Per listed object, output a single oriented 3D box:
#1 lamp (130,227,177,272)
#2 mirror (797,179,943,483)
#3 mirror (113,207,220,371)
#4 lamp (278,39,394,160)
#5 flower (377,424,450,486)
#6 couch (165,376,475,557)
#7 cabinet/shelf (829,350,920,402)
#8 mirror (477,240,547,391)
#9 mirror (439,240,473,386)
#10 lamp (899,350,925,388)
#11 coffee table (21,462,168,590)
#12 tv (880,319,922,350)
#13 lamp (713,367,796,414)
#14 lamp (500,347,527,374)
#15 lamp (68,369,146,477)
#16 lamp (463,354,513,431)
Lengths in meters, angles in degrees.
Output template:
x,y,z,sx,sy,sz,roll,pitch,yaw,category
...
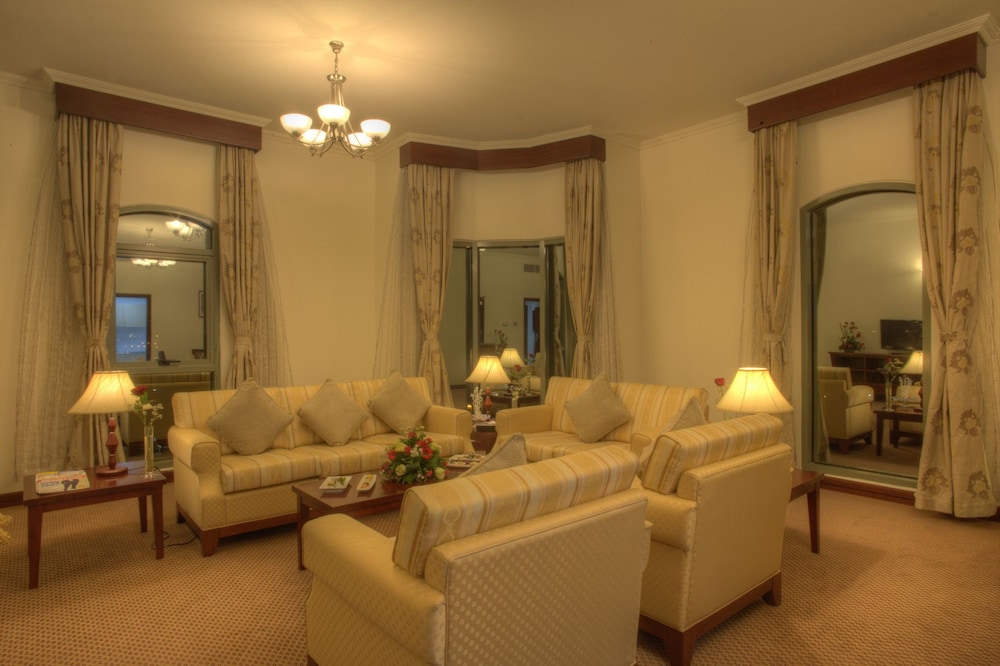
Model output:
x,y,z,sx,sy,sz,roll,pitch,yaw,category
-3.739,-0.889,7.682,0.394,0.394,0.367,0,-4,-35,lamp
3.671,0.064,7.275,1.082,3.148,0.187,1,8,28,mirror
-3.666,-0.480,7.762,1.112,1.938,0.078,2,-18,-34,mirror
-1.542,-2.237,6.671,1.084,1.036,1.116,6,9,31,lamp
-0.709,0.953,5.947,0.379,0.342,0.373,-1,15,9,flower
-1.651,1.138,7.013,2.858,1.256,1.037,-1,3,-42,couch
3.732,0.429,7.300,0.214,0.451,0.709,-1,3,-44,cabinet/shelf
0.115,-0.209,8.981,1.014,2.140,0.063,4,-25,-1,mirror
-0.564,-0.155,9.074,0.437,2.190,0.119,-1,-26,-4,mirror
4.045,0.325,7.026,0.252,0.275,0.273,0,2,28,lamp
-3.367,1.521,5.989,1.007,0.931,0.999,-3,1,-30,coffee table
3.963,-0.001,7.058,0.044,0.257,0.295,-1,0,-43,tv
2.077,0.490,5.915,0.443,0.242,0.456,-1,0,19,lamp
0.154,0.317,8.956,0.284,0.262,0.305,-4,4,-21,lamp
-3.345,0.770,6.142,0.561,0.856,0.598,0,0,36,lamp
-0.185,0.603,8.064,0.658,0.934,0.655,0,-8,0,lamp
